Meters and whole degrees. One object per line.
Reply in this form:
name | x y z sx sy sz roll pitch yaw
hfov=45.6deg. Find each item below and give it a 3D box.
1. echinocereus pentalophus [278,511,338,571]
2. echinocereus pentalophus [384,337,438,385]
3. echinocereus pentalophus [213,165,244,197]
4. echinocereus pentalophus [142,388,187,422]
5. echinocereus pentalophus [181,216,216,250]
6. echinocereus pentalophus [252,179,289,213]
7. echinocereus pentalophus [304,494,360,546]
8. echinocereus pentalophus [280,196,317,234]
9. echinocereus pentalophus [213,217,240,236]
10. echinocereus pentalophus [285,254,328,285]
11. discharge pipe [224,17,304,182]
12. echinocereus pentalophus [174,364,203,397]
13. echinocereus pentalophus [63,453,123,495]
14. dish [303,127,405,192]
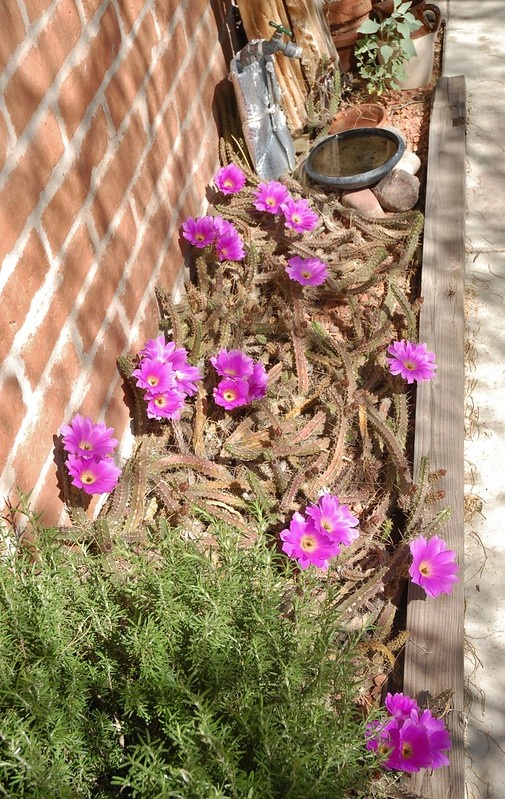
echinocereus pentalophus | 0.090 0.277 1.097 0.048 0.106 0.107 -38 6 45
echinocereus pentalophus | 0.390 -0.093 1.480 0.107 0.103 0.127 2 15 20
echinocereus pentalophus | -0.078 -0.723 1.961 0.095 0.094 0.075 -12 16 -34
echinocereus pentalophus | -0.189 0.009 1.301 0.069 0.074 0.027 -9 -20 -13
echinocereus pentalophus | -0.150 -0.482 1.741 0.101 0.085 0.089 -12 16 -33
echinocereus pentalophus | 0.062 -0.643 1.904 0.110 0.106 0.205 -2 14 3
echinocereus pentalophus | 0.143 0.231 1.127 0.096 0.097 0.041 -20 -25 -33
echinocereus pentalophus | 0.159 -0.572 1.869 0.113 0.121 0.056 -11 -7 -28
echinocereus pentalophus | -0.082 -0.515 1.778 0.029 0.070 0.068 -40 18 31
echinocereus pentalophus | 0.151 -0.345 1.673 0.089 0.095 0.037 29 -37 -14
discharge pipe | 0.058 -1.069 2.200 0.190 0.548 0.249 24 67 22
echinocereus pentalophus | -0.141 -0.050 1.379 0.051 0.066 0.118 -1 14 7
echinocereus pentalophus | -0.286 0.137 1.088 0.080 0.083 0.037 17 -37 -37
dish | 0.378 -0.909 2.268 0.365 0.253 0.335 -1 14 7
